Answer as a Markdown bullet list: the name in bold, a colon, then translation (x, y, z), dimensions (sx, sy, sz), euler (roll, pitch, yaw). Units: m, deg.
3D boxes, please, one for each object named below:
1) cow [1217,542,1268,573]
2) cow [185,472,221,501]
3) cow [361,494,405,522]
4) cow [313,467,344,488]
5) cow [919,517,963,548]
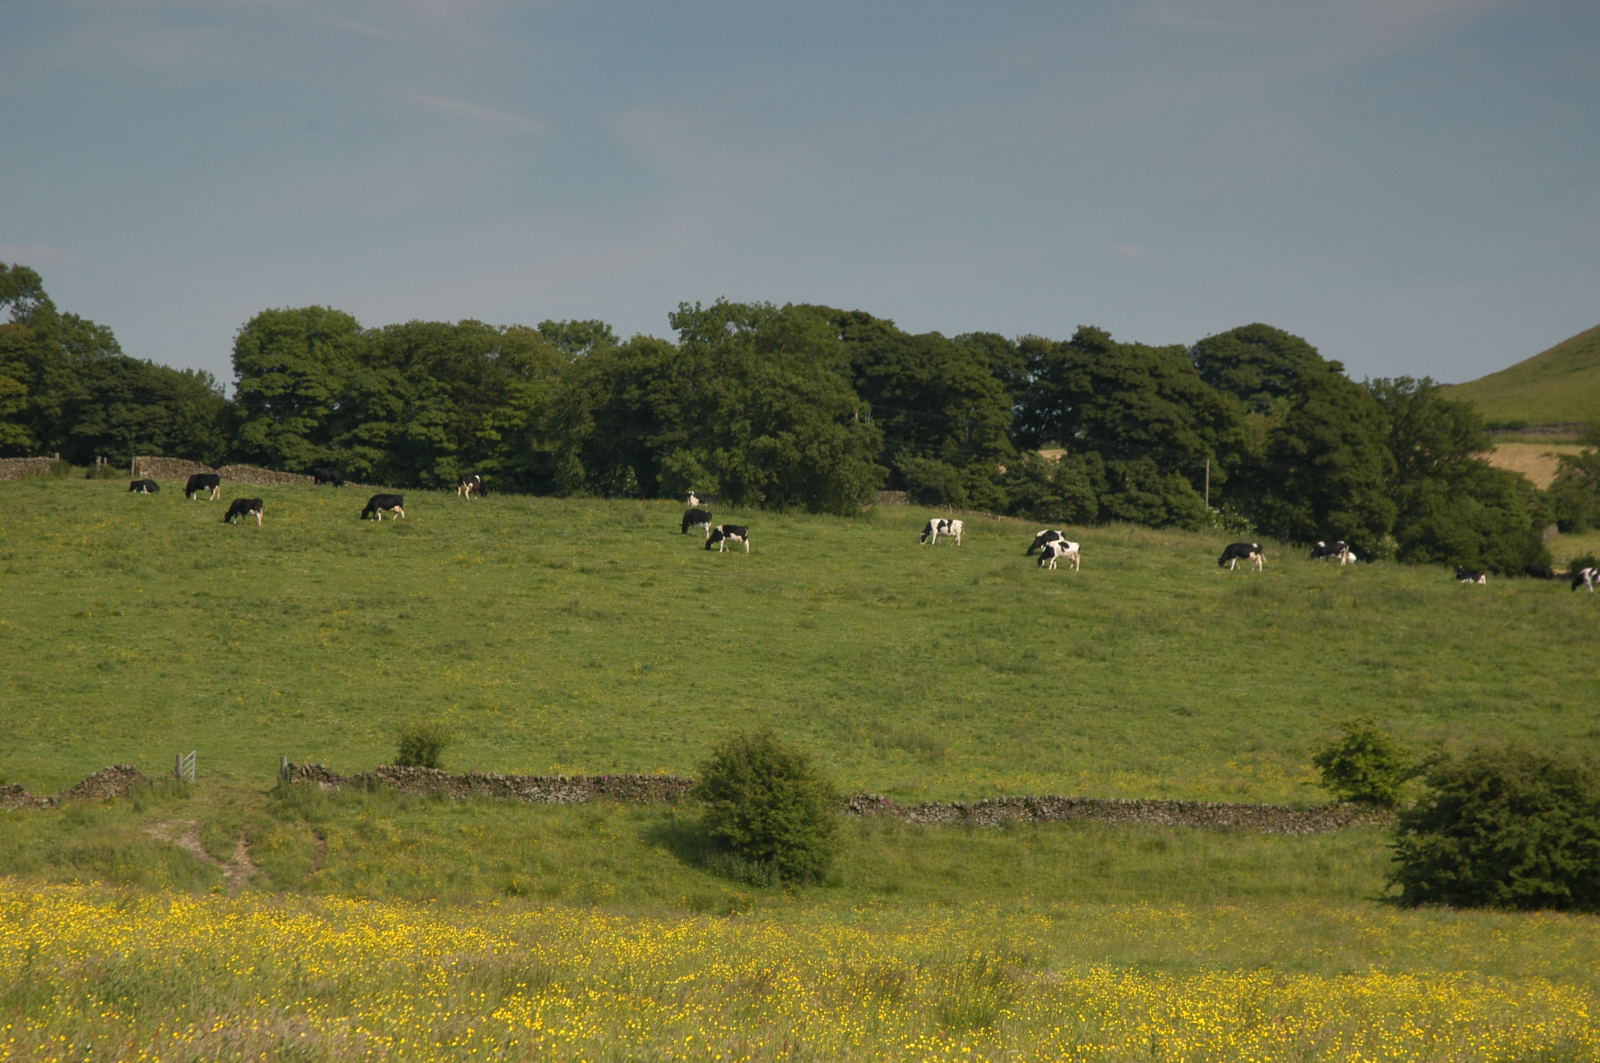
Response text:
- **cow**: translation (24.402, 1.291, 136.541), dimensions (3.904, 1.448, 1.850), euler (0, 0, -37)
- **cow**: translation (-32.492, -2.539, 133.762), dimensions (1.801, 1.498, 2.966), euler (0, 0, -15)
- **cow**: translation (-22.159, -1.359, 130.619), dimensions (2.396, 1.343, 1.985), euler (0, 0, -15)
- **cow**: translation (-29.864, -3.515, 156.024), dimensions (1.931, 1.291, 1.782), euler (0, -4, 1)
- **cow**: translation (7.764, -0.129, 136.573), dimensions (2.331, 1.394, 3.372), euler (0, 0, 1)
